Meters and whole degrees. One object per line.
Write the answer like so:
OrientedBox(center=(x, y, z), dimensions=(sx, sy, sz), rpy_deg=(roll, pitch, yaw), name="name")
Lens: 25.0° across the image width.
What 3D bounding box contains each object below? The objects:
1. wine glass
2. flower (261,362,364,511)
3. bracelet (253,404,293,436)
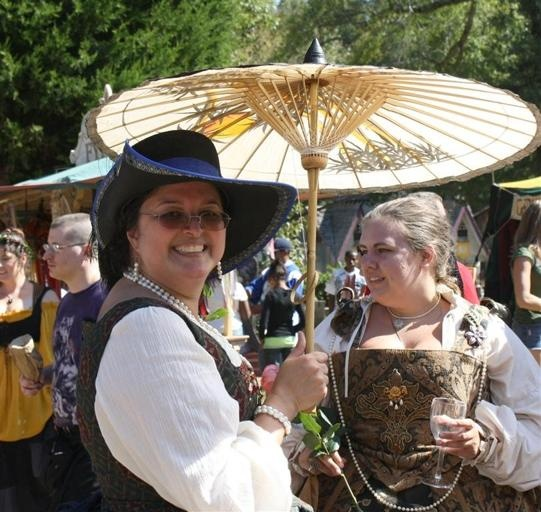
OrientedBox(center=(1.167, 1.265, 8.257), dimensions=(0.274, 0.652, 0.230), rpy_deg=(2, 11, 16), name="wine glass")
OrientedBox(center=(0.288, 1.209, 8.124), dimensions=(0.306, 1.039, 0.276), rpy_deg=(-23, -14, -43), name="flower")
OrientedBox(center=(0.009, 1.005, 7.716), dimensions=(0.058, 0.172, 0.210), rpy_deg=(-45, 47, -7), name="bracelet")
